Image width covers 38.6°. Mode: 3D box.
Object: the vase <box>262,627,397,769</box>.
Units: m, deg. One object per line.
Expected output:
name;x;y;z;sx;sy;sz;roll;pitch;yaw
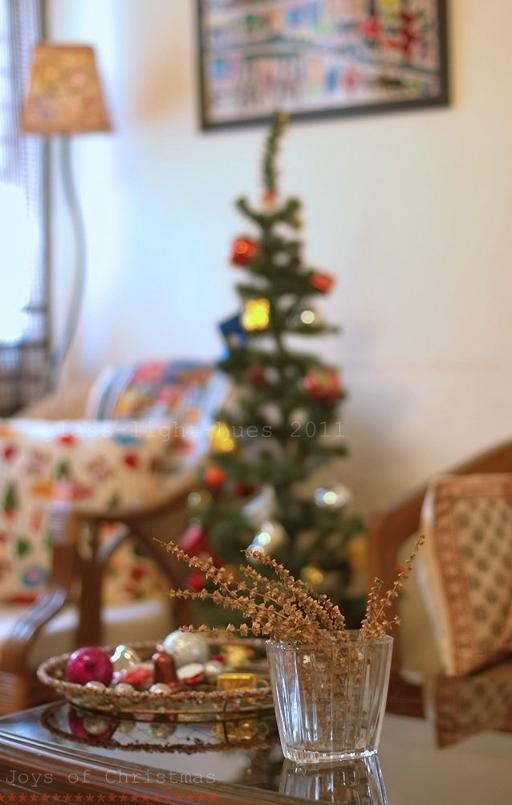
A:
vase;0.055;0.214;0.549;0.097;0.087;0.088;3;-3;-22

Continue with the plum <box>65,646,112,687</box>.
plum;-0.157;0.251;0.692;0.039;0.035;0.044;-3;-2;-1

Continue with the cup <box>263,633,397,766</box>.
cup;0.053;0.219;0.548;0.098;0.087;0.086;1;-6;-9

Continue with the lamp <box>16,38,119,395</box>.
lamp;-0.267;-0.247;1.039;0.119;0.437;0.287;1;-7;-12

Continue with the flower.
flower;0.034;0.172;0.525;0.102;0.084;0.127;-2;3;-34
